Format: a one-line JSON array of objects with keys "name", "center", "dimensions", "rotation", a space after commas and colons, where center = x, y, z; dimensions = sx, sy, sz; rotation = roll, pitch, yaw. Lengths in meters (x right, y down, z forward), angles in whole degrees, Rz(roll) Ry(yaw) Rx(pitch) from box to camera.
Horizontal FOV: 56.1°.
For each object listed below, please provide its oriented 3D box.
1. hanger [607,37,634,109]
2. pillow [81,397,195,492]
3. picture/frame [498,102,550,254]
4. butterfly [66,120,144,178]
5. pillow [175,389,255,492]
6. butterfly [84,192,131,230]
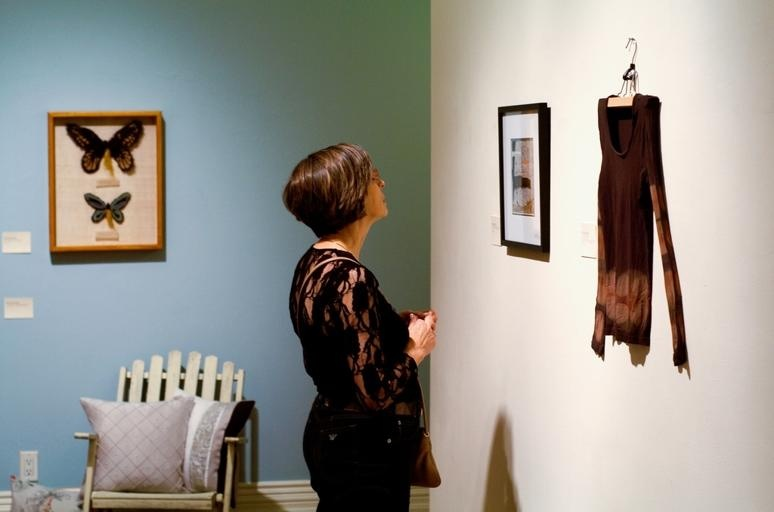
[{"name": "hanger", "center": [0.840, -0.652, 2.582], "dimensions": [0.108, 0.252, 0.057], "rotation": [-1, -2, 26]}, {"name": "pillow", "center": [-1.399, 1.104, 4.021], "dimensions": [0.608, 0.613, 0.245], "rotation": [10, -32, -31]}, {"name": "picture/frame", "center": [0.577, -0.343, 3.072], "dimensions": [0.041, 0.585, 0.340], "rotation": [-5, 7, -19]}, {"name": "butterfly", "center": [-1.627, -0.637, 4.215], "dimensions": [0.420, 0.315, 0.043], "rotation": [0, -2, -5]}, {"name": "pillow", "center": [-0.957, 1.027, 4.031], "dimensions": [0.339, 0.515, 0.341], "rotation": [2, 4, -2]}, {"name": "butterfly", "center": [-1.636, -0.269, 4.226], "dimensions": [0.193, 0.162, 0.032], "rotation": [1, 0, -12]}]
